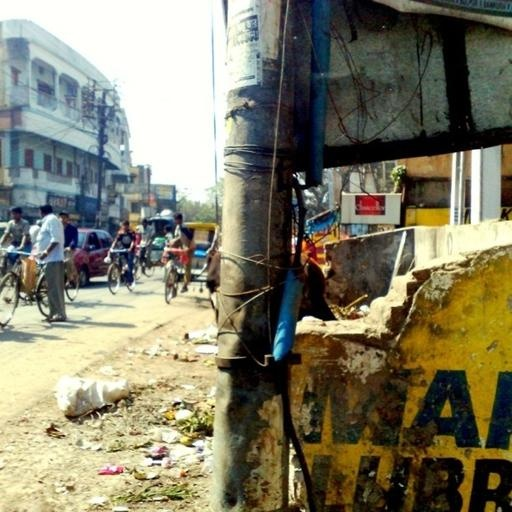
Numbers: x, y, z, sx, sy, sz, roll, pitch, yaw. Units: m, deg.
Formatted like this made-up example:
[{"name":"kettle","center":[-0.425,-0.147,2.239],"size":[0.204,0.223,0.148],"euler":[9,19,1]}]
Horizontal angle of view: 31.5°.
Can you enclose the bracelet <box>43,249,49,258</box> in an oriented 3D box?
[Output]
[{"name":"bracelet","center":[-2.527,-0.013,10.908],"size":[0.063,0.083,0.121],"euler":[0,0,-18]}]

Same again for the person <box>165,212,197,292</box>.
[{"name":"person","center":[-1.208,-0.034,14.388],"size":[0.441,1.207,0.678],"euler":[0,1,-8]}]

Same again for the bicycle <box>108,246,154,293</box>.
[{"name":"bicycle","center":[-2.343,0.274,16.821],"size":[0.582,0.900,1.414],"euler":[-3,-9,7]}]
